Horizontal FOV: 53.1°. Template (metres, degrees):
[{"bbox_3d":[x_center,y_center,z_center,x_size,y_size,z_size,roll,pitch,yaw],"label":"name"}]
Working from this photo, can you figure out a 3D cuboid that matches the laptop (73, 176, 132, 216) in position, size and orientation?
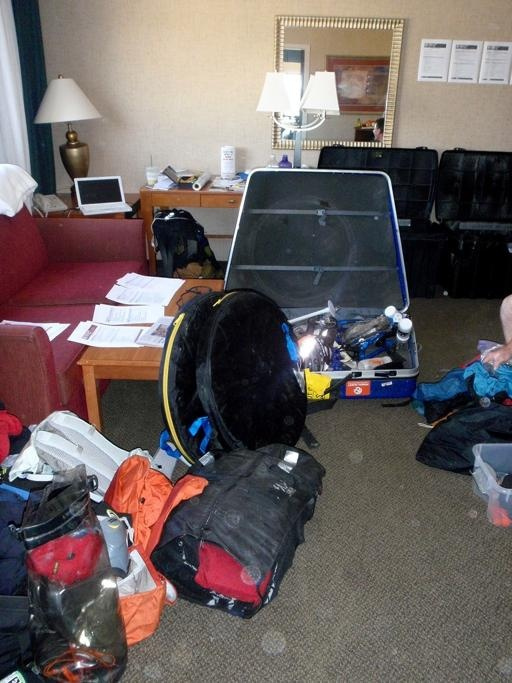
[{"bbox_3d":[-0.937,-0.891,3.111,0.340,0.202,0.302,-11,37,-28],"label":"laptop"}]

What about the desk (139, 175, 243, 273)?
[{"bbox_3d":[-0.351,-0.777,3.575,0.786,0.682,0.321,3,38,-1],"label":"desk"}]

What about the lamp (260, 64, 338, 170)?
[{"bbox_3d":[0.230,-1.374,3.176,0.524,0.550,0.849,5,26,6],"label":"lamp"}]

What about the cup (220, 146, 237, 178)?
[{"bbox_3d":[-0.189,-1.241,3.523,0.130,0.223,0.131,3,42,-2],"label":"cup"}]

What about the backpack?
[{"bbox_3d":[-0.525,0.339,1.500,0.274,0.114,0.246,31,26,-11],"label":"backpack"}]

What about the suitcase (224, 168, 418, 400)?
[{"bbox_3d":[0.261,-0.242,2.163,0.851,0.815,0.707,0,27,3],"label":"suitcase"}]

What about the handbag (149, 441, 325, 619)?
[{"bbox_3d":[-0.039,0.472,1.475,0.388,0.195,0.553,8,23,19],"label":"handbag"}]

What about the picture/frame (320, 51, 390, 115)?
[{"bbox_3d":[0.712,-1.706,3.426,0.012,0.354,0.491,-33,41,-24],"label":"picture/frame"}]

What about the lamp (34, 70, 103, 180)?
[{"bbox_3d":[-1.185,-1.322,3.255,0.376,0.653,0.521,-8,27,-19],"label":"lamp"}]

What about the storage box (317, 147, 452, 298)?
[{"bbox_3d":[0.843,-0.869,3.726,1.008,0.985,0.982,1,34,5],"label":"storage box"}]

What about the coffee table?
[{"bbox_3d":[-0.340,0.166,2.058,0.501,0.359,0.744,2,37,0],"label":"coffee table"}]

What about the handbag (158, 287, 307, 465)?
[{"bbox_3d":[-0.047,0.129,1.709,0.304,0.556,0.635,14,29,25],"label":"handbag"}]
